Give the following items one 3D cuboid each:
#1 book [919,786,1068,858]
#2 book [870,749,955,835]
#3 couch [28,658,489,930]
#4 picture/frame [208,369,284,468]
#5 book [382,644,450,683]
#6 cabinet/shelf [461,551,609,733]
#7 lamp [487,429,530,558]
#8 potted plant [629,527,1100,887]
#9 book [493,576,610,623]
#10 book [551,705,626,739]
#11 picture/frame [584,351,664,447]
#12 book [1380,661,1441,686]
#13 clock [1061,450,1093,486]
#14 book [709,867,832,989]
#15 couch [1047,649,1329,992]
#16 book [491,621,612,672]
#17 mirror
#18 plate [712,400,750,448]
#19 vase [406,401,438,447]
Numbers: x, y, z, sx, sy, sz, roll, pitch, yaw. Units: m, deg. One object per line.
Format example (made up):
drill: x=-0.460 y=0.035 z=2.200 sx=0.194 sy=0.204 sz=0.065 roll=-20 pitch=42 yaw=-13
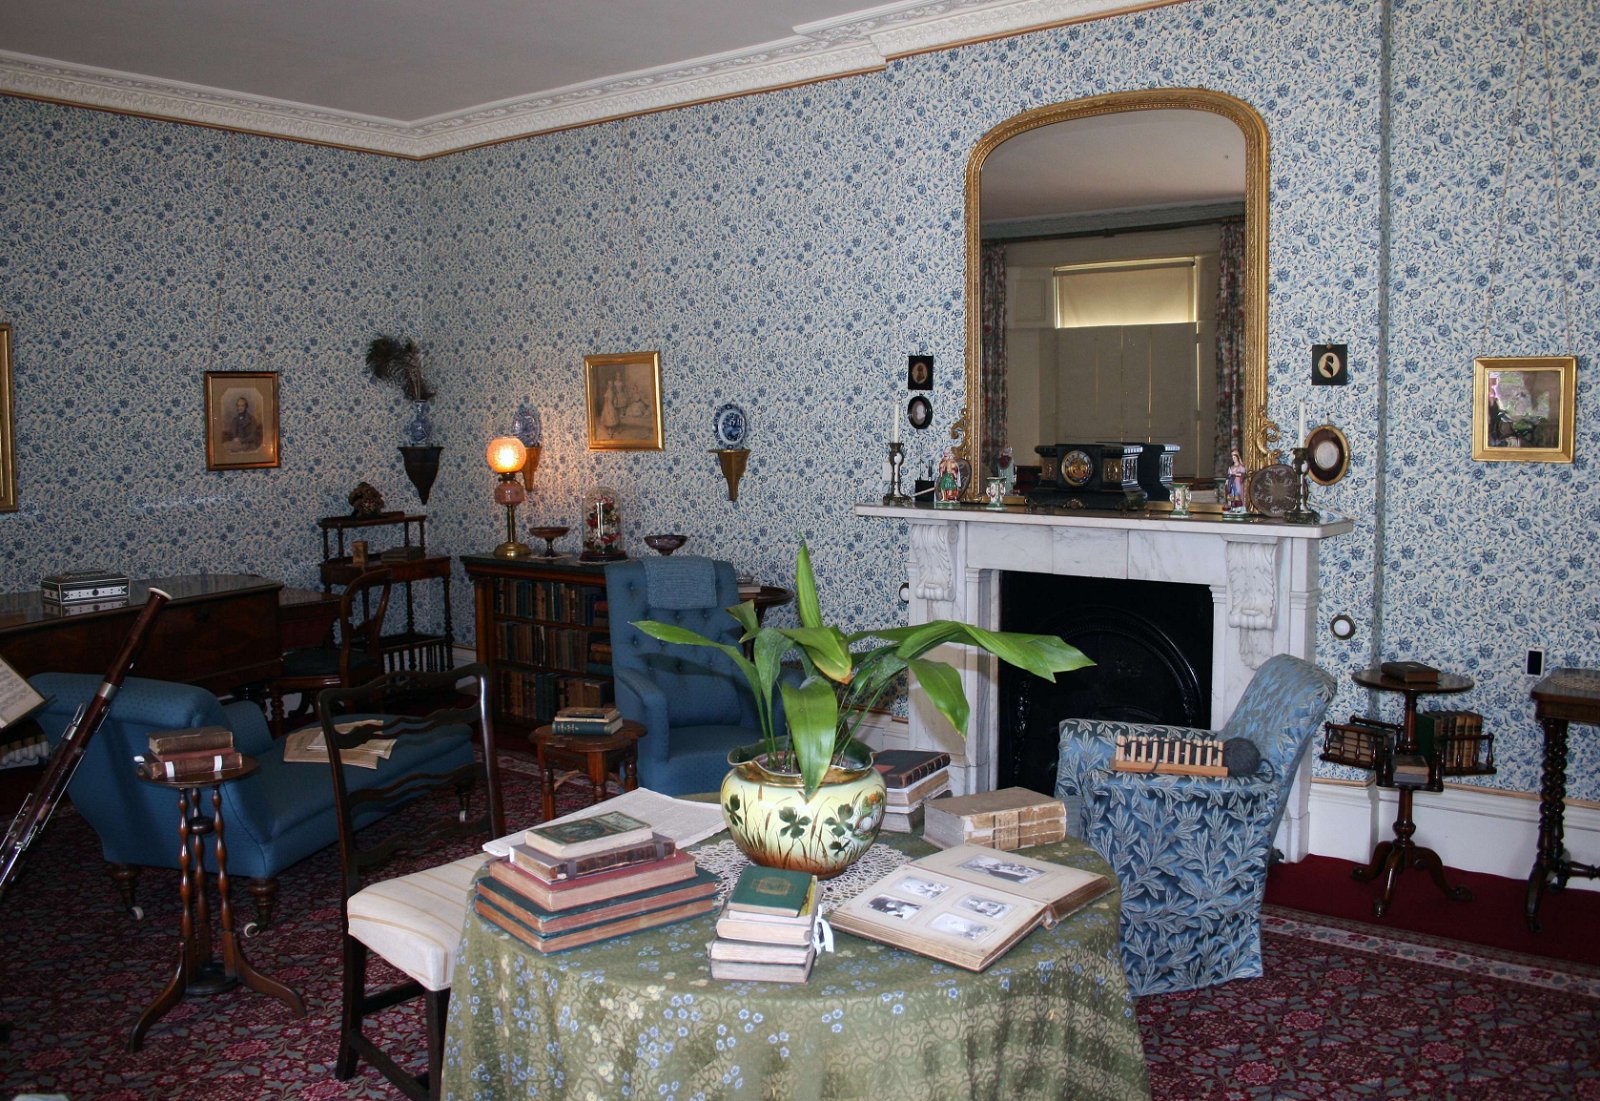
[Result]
book: x=0.670 y=0.903 z=3.712 sx=0.291 sy=0.095 sz=0.227 roll=-3 pitch=6 yaw=-25
book: x=0.399 y=0.824 z=3.927 sx=0.228 sy=0.142 sz=0.314 roll=1 pitch=5 yaw=22
couch: x=-2.882 y=1.086 z=5.366 sx=2.163 sy=1.349 sz=1.122 roll=1 pitch=5 yaw=18
picture/frame: x=-3.935 y=-0.937 z=7.728 sx=0.063 sy=0.900 sz=0.671 roll=3 pitch=5 yaw=41
book: x=-2.915 y=0.912 z=8.434 sx=0.277 sy=0.305 sz=0.496 roll=2 pitch=3 yaw=38
cabinet/shelf: x=-1.728 y=0.598 z=7.291 sx=1.213 sy=1.135 sz=0.478 roll=2 pitch=3 yaw=31
lamp: x=-2.101 y=-0.396 z=7.927 sx=0.258 sy=0.854 sz=0.721 roll=-1 pitch=4 yaw=-15
potted plant: x=0.209 y=0.487 z=3.619 sx=1.181 sy=0.753 sz=1.216 roll=5 pitch=3 yaw=30
book: x=-1.727 y=0.346 z=7.555 sx=0.984 sy=0.305 sz=0.046 roll=3 pitch=5 yaw=29
book: x=-1.096 y=0.867 z=5.623 sx=0.350 sy=0.117 sz=0.171 roll=0 pitch=4 yaw=0
picture/frame: x=-1.220 y=-1.077 z=7.681 sx=0.642 sy=0.659 sz=0.049 roll=6 pitch=11 yaw=34
book: x=2.976 y=0.602 z=5.378 sx=0.250 sy=0.102 sz=0.240 roll=3 pitch=5 yaw=29
clock: x=1.493 y=-0.454 z=5.935 sx=0.184 sy=0.212 sz=0.029 roll=-2 pitch=2 yaw=44
book: x=-0.079 y=1.063 z=3.125 sx=0.290 sy=0.231 sz=0.278 roll=2 pitch=5 yaw=24
couch: x=1.899 y=1.193 z=5.241 sx=1.388 sy=1.545 sz=1.140 roll=0 pitch=1 yaw=3
book: x=-1.737 y=0.662 z=7.590 sx=0.935 sy=0.316 sz=0.049 roll=2 pitch=5 yaw=26
mirror: x=1.700 y=-1.432 z=6.057 sx=1.629 sy=2.095 sz=0.093 roll=2 pitch=5 yaw=25
plate: x=-0.472 y=-0.837 z=7.269 sx=0.252 sy=0.289 sz=0.043 roll=3 pitch=5 yaw=32
vase: x=-2.959 y=-0.997 z=8.551 sx=0.194 sy=0.315 sz=0.076 roll=-2 pitch=5 yaw=-23
